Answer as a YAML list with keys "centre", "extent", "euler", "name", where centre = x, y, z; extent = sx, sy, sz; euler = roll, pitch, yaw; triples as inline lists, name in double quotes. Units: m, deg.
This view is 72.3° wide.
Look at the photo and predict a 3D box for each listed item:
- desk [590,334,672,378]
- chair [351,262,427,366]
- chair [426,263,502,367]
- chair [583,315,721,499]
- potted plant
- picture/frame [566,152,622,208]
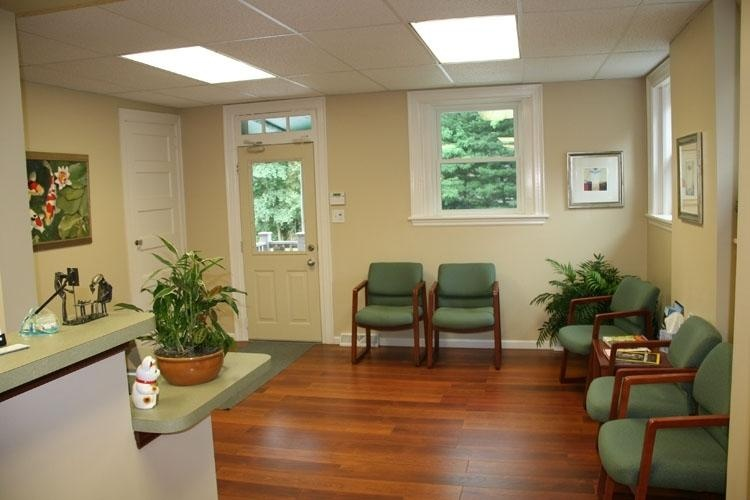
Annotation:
- centre: [1.996, 0.789, 4.015]
  extent: [0.408, 0.471, 0.525]
  euler: [0, 1, 9]
  name: "desk"
- centre: [0.177, 0.694, 5.768]
  extent: [0.802, 1.021, 0.643]
  euler: [-1, 8, 15]
  name: "chair"
- centre: [0.982, 0.690, 5.612]
  extent: [0.799, 1.003, 0.820]
  euler: [-1, 13, 11]
  name: "chair"
- centre: [1.796, 0.939, 3.412]
  extent: [0.995, 1.187, 0.911]
  euler: [-1, 0, 7]
  name: "chair"
- centre: [-1.024, 0.380, 2.844]
  extent: [0.423, 0.712, 0.248]
  euler: [-9, 15, -23]
  name: "potted plant"
- centre: [2.403, -0.788, 5.573]
  extent: [0.632, 0.605, 0.068]
  euler: [1, 1, 9]
  name: "picture/frame"
